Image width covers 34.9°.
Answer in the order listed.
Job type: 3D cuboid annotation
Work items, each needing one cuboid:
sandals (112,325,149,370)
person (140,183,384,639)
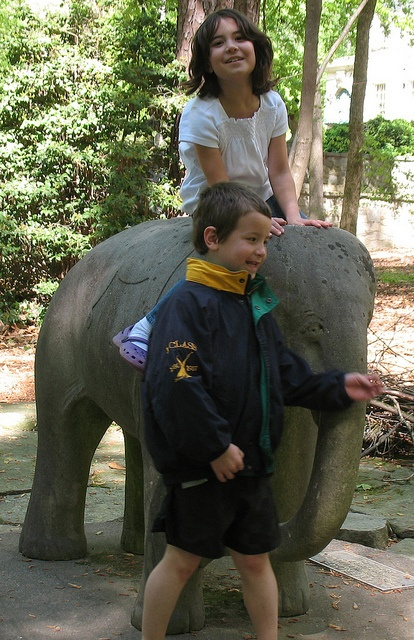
[{"bbox_3d":[-0.194,0.074,1.647,0.071,0.045,0.129,-16,48,-41],"label":"sandals"},{"bbox_3d":[0.071,0.205,1.590,0.499,1.077,0.353,-2,8,-40],"label":"person"}]
